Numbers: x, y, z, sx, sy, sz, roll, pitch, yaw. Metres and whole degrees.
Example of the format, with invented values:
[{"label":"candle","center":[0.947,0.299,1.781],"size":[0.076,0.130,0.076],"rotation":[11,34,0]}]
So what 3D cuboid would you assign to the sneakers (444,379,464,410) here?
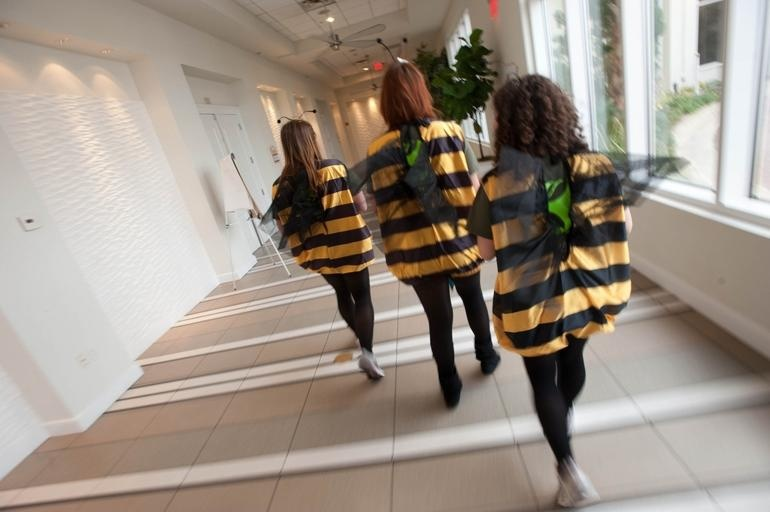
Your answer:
[{"label":"sneakers","center":[0.459,0.949,2.955],"size":[0.109,0.094,0.222],"rotation":[1,63,9]}]

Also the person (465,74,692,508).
[{"label":"person","center":[0.949,0.208,2.352],"size":[0.656,2.275,0.790],"rotation":[7,27,41]}]

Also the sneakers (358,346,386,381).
[{"label":"sneakers","center":[-0.115,0.849,3.363],"size":[0.156,0.297,0.122],"rotation":[-47,16,-32]}]

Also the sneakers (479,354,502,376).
[{"label":"sneakers","center":[0.767,0.781,3.183],"size":[0.180,0.118,0.102],"rotation":[-63,19,-17]}]
